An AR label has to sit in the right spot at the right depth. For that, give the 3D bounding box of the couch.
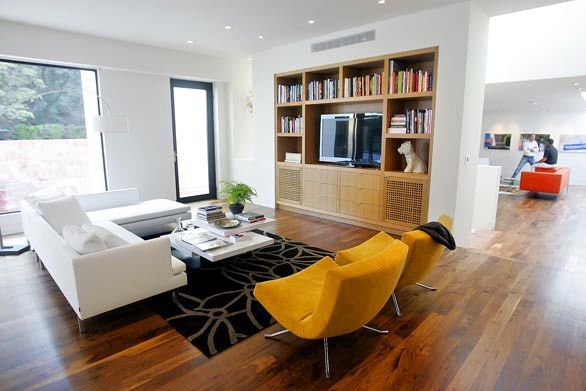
[{"bbox_3d":[-2.487,0.767,4.979,1.923,1.294,1.130,9,16,43],"label":"couch"}]

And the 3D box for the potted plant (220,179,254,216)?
[{"bbox_3d":[-0.987,0.054,6.783,0.566,0.521,0.556,18,26,27],"label":"potted plant"}]

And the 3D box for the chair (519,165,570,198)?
[{"bbox_3d":[6.698,-0.366,10.198,1.026,0.751,1.120,5,13,31],"label":"chair"}]
